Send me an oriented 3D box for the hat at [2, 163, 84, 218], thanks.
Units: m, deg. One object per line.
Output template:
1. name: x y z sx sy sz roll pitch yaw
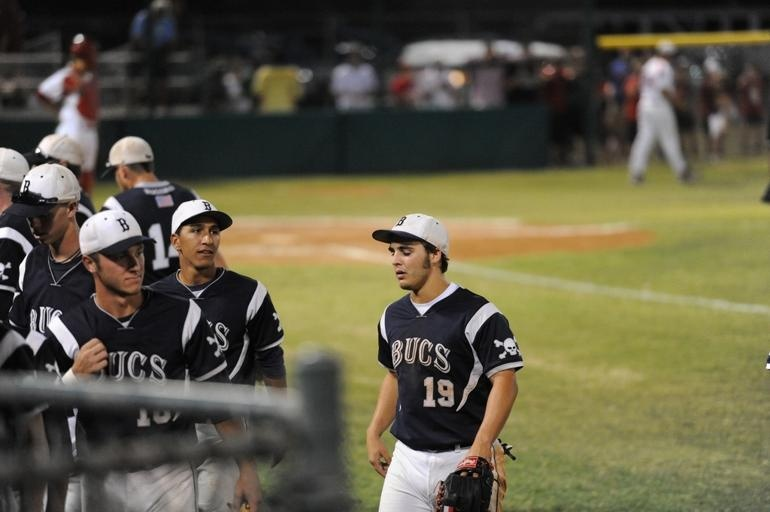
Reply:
1. hat: -3.029 -0.581 13.439 0.411 0.282 0.529 11 16 36

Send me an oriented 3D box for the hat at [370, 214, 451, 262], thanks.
1. hat: 0.204 -0.155 13.090 0.550 0.257 0.376 7 -2 -7

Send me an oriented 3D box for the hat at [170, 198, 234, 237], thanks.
1. hat: -1.718 -0.335 13.398 0.321 0.215 0.451 4 -6 -43
